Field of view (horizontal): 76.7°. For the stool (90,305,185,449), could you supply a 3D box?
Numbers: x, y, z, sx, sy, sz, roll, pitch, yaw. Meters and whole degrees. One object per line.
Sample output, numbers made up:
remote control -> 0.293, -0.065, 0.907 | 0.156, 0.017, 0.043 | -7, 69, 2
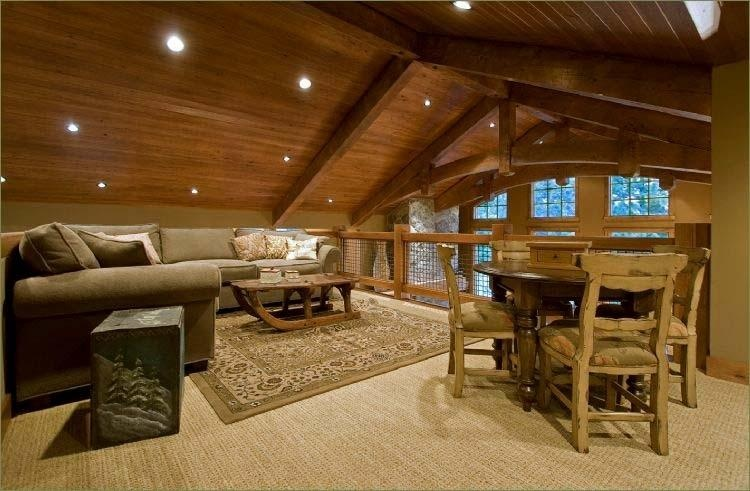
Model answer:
stool -> -1.807, 0.968, 4.052 | 0.946, 1.000, 1.163 | 0, 0, -23
